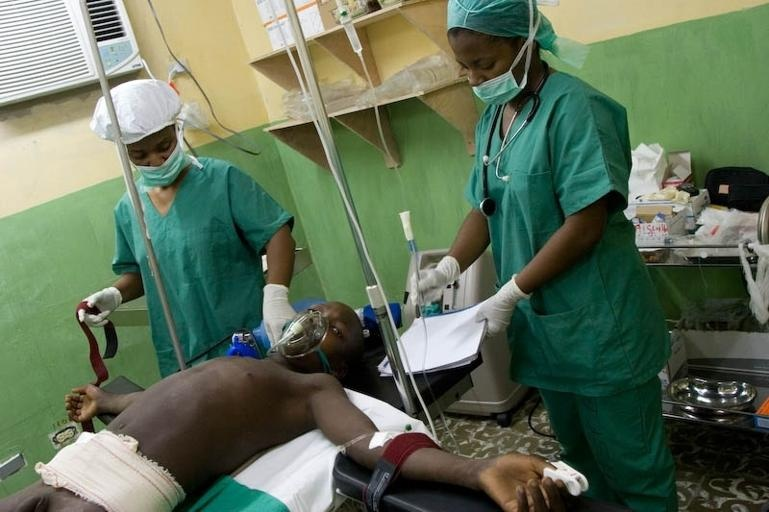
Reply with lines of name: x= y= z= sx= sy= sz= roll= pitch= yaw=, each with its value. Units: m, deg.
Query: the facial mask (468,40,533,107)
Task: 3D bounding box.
facial mask: x=0.456 y=-0.684 z=1.978 sx=0.211 sy=0.200 sz=0.182 roll=-3 pitch=15 yaw=31

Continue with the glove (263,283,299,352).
glove: x=-0.429 y=0.249 z=2.217 sx=0.151 sy=0.117 sz=0.240 roll=1 pitch=50 yaw=9

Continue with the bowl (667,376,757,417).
bowl: x=1.566 y=0.674 z=2.535 sx=0.375 sy=0.077 sz=0.245 roll=-4 pitch=14 yaw=28

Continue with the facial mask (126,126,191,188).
facial mask: x=-1.002 y=-0.432 z=2.328 sx=0.278 sy=0.249 sz=0.201 roll=-10 pitch=13 yaw=1

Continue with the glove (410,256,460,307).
glove: x=0.207 y=0.114 z=2.177 sx=0.248 sy=0.141 sz=0.099 roll=-36 pitch=23 yaw=-12

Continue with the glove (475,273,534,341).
glove: x=0.459 y=0.197 z=2.075 sx=0.133 sy=0.137 sz=0.371 roll=-25 pitch=-14 yaw=-25

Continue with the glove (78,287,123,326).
glove: x=-1.349 y=0.244 z=2.509 sx=0.124 sy=0.114 sz=0.206 roll=-9 pitch=26 yaw=26
